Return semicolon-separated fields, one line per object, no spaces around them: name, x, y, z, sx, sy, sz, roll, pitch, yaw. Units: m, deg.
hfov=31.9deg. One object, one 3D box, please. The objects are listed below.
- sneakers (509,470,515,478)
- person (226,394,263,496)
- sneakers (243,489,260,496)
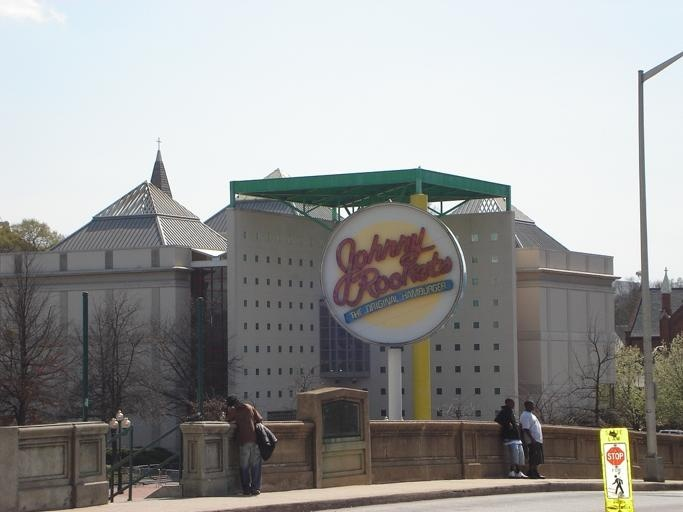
sneakers;6.242;7.829;43.286;0.185;0.222;0.199;-1;-5;3
person;-3.063;6.165;38.364;0.955;2.813;0.340;-1;-10;-5
sneakers;-2.870;7.502;38.242;0.512;0.240;0.183;-3;-2;4
